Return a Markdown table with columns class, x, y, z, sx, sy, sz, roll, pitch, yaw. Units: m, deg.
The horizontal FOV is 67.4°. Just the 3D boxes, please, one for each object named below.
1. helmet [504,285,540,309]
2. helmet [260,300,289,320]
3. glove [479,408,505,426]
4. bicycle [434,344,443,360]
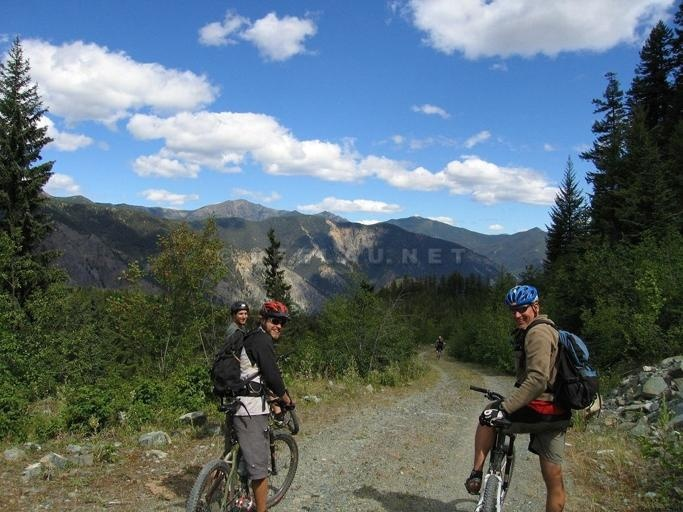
| class | x | y | z | sx | sy | sz | roll | pitch | yaw |
| --- | --- | --- | --- | --- | --- | --- | --- | --- | --- |
| helmet | 3.770 | 0.837 | 10.500 | 0.432 | 0.324 | 0.620 | -5 | -6 | 44 |
| helmet | -1.406 | 1.142 | 10.868 | 0.531 | 0.287 | 0.385 | -16 | -18 | 41 |
| glove | 2.987 | 3.144 | 10.062 | 0.272 | 0.221 | 0.460 | 3 | -9 | -21 |
| bicycle | 11.182 | 10.785 | 57.024 | 1.130 | 1.658 | 2.669 | 0 | -5 | 7 |
